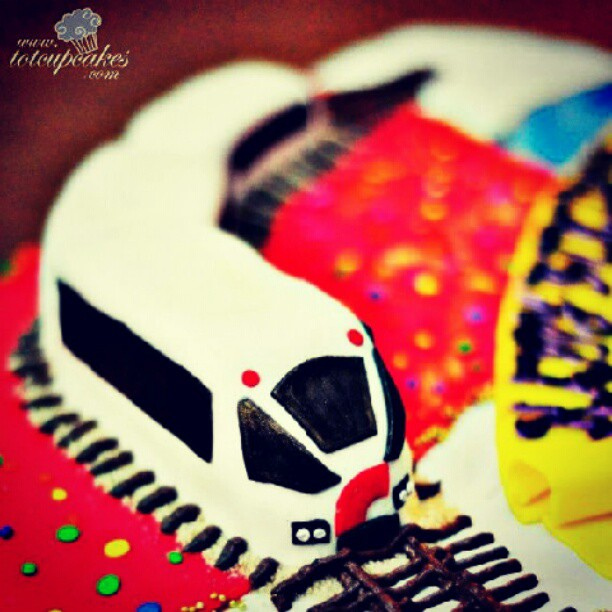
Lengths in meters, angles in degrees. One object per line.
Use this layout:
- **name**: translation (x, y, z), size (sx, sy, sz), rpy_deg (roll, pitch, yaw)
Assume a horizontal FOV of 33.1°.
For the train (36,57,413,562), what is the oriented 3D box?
- **train**: translation (-0.373, 0.194, 3.709), size (1.559, 0.508, 1.269), rpy_deg (37, 55, 11)
